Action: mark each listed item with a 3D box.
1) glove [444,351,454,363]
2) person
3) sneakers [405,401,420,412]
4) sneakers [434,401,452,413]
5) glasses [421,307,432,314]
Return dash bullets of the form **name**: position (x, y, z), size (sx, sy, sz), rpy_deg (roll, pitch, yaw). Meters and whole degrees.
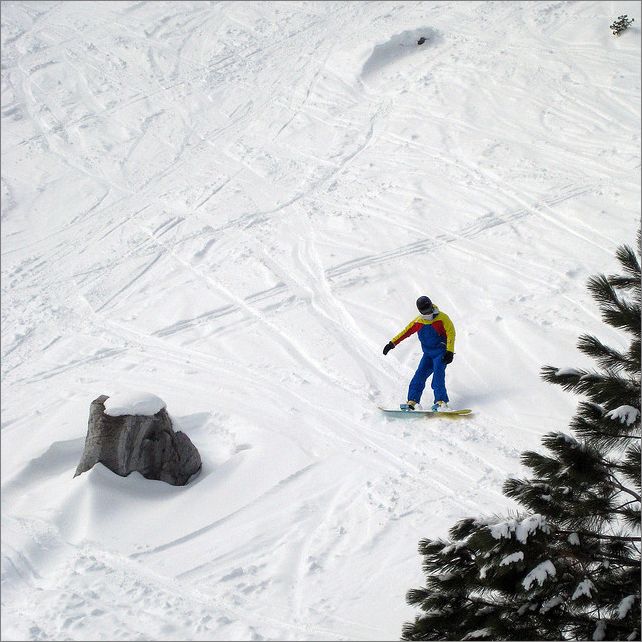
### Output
- **glove**: position (2.470, 0.715, 22.037), size (0.194, 0.201, 0.061), rpy_deg (5, 2, 14)
- **person**: position (1.989, 0.654, 22.305), size (1.198, 2.213, 1.293), rpy_deg (-4, 36, -4)
- **sneakers**: position (1.760, 1.678, 22.423), size (0.300, 0.155, 0.139), rpy_deg (8, 0, -2)
- **sneakers**: position (2.354, 1.689, 22.330), size (0.176, 0.131, 0.374), rpy_deg (0, 1, -28)
- **glasses**: position (2.045, -0.221, 22.039), size (0.150, 0.144, 0.188), rpy_deg (-38, 9, 2)
